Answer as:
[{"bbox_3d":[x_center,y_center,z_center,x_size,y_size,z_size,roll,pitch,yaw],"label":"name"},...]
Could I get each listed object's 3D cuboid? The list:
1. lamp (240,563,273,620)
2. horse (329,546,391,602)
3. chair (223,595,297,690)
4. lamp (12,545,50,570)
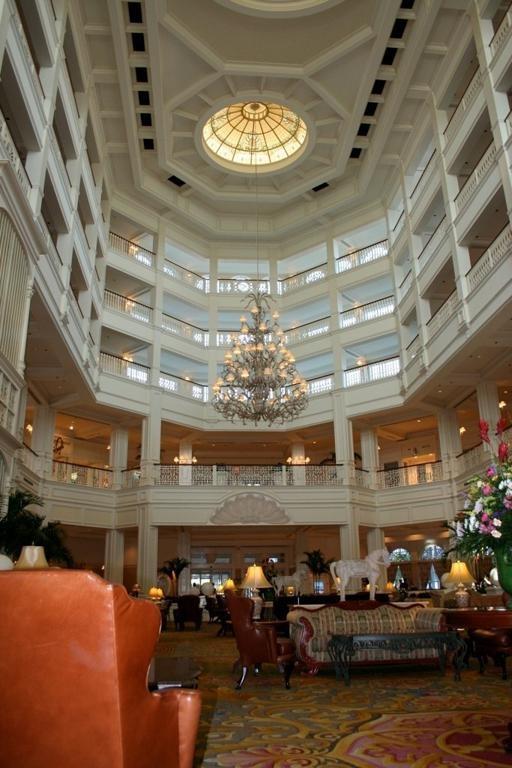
[{"bbox_3d":[-0.016,3.359,8.093,0.505,0.767,0.510,-12,-24,24],"label":"lamp"},{"bbox_3d":[1.835,3.420,8.877,0.968,0.866,0.939,-5,-17,7],"label":"horse"},{"bbox_3d":[0.017,3.228,6.514,1.076,1.486,1.073,-1,-21,0],"label":"chair"},{"bbox_3d":[-1.409,1.079,3.124,0.163,0.130,0.371,4,-18,-23],"label":"lamp"}]
